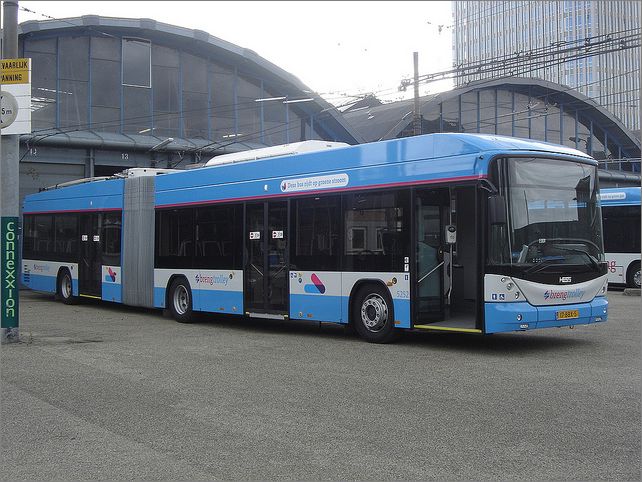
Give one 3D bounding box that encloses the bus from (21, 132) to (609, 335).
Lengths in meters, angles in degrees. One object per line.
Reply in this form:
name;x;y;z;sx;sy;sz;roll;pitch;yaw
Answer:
bus;-3.279;-0.048;17.883;21.582;3.734;3.186;-1;0;41
